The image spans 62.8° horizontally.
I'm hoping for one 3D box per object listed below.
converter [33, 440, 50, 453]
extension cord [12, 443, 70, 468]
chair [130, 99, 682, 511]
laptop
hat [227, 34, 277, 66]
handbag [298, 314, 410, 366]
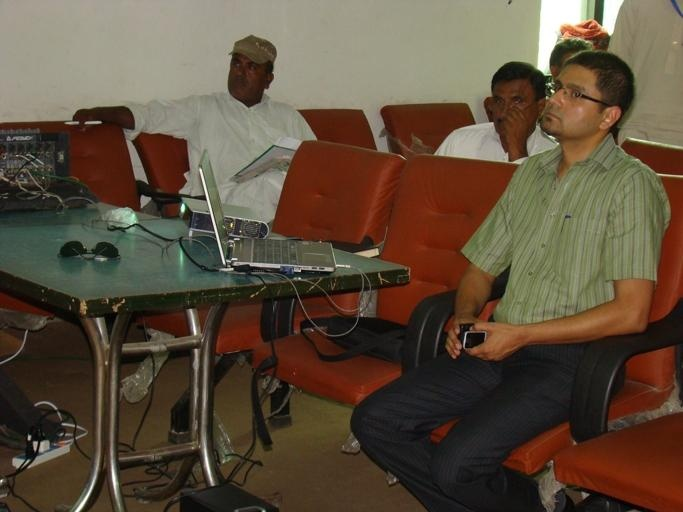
[{"bbox_3d":[-1.165,0.742,2.182,0.048,0.030,0.048,3,0,42],"label":"converter"},{"bbox_3d":[-1.164,0.779,2.187,0.072,0.024,0.139,4,9,34],"label":"extension cord"},{"bbox_3d":[0.333,0.132,2.023,1.106,1.286,1.089,10,-6,-34],"label":"chair"},{"bbox_3d":[-0.219,-0.127,1.689,0.423,0.282,0.398,6,7,-15],"label":"laptop"},{"bbox_3d":[-0.550,-1.352,3.698,0.205,0.107,0.272,8,2,15],"label":"hat"},{"bbox_3d":[0.090,0.285,1.997,0.218,0.069,0.213,-4,10,-34],"label":"handbag"}]
